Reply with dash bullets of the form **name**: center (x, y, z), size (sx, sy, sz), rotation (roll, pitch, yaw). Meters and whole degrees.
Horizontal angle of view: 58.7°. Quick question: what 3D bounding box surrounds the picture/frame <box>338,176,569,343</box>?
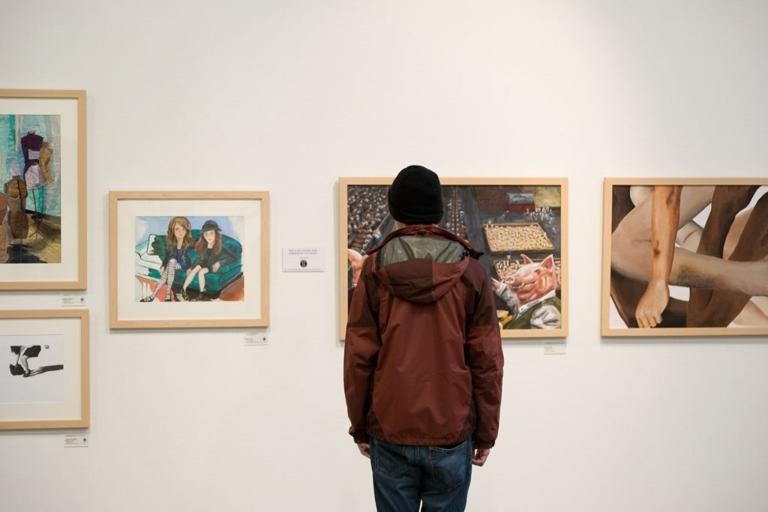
- **picture/frame**: center (0.386, 0.008, 4.363), size (1.501, 1.148, 0.091), rotation (0, 1, -2)
